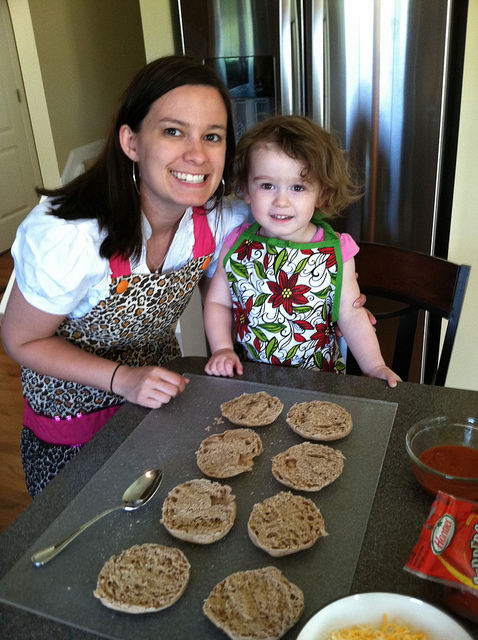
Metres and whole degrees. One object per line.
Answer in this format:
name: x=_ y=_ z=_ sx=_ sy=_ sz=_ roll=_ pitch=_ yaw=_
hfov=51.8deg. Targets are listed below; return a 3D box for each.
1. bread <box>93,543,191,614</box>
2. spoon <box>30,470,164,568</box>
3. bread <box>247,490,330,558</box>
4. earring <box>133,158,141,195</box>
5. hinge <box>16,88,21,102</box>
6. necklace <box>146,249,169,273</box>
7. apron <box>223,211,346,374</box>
bread: x=-0.094 y=0.252 z=0.492 sx=0.089 sy=0.021 sz=0.086 roll=-4 pitch=25 yaw=1
spoon: x=-0.157 y=0.227 z=0.570 sx=0.039 sy=0.024 sz=0.173 roll=16 pitch=34 yaw=40
bread: x=0.049 y=0.221 z=0.549 sx=0.087 sy=0.023 sz=0.090 roll=-13 pitch=27 yaw=-19
earring: x=-0.199 y=-0.275 z=0.956 sx=0.014 sy=0.059 sz=0.034 roll=-8 pitch=25 yaw=-9
hinge: x=-1.873 y=-1.907 z=4.172 sx=0.009 sy=0.101 sz=0.031 roll=15 pitch=31 yaw=36
necklace: x=-0.165 y=-0.120 z=1.014 sx=0.042 sy=0.034 sz=0.070 roll=-10 pitch=26 yaw=-12
apron: x=0.121 y=-0.059 z=1.197 sx=0.286 sy=0.369 sz=0.212 roll=8 pitch=36 yaw=12
